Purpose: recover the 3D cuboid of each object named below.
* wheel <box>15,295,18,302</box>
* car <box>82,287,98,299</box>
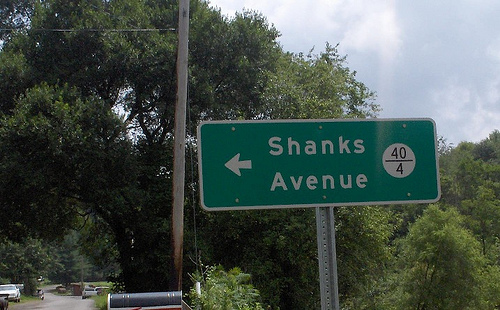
[{"bbox_3d":[-23.972,14.710,65.656,0.237,0.616,1.258,0,-13,-20],"label":"wheel"},{"bbox_3d":[-22.054,19.001,87.221,1.659,0.858,1.023,-1,-1,2],"label":"car"}]
